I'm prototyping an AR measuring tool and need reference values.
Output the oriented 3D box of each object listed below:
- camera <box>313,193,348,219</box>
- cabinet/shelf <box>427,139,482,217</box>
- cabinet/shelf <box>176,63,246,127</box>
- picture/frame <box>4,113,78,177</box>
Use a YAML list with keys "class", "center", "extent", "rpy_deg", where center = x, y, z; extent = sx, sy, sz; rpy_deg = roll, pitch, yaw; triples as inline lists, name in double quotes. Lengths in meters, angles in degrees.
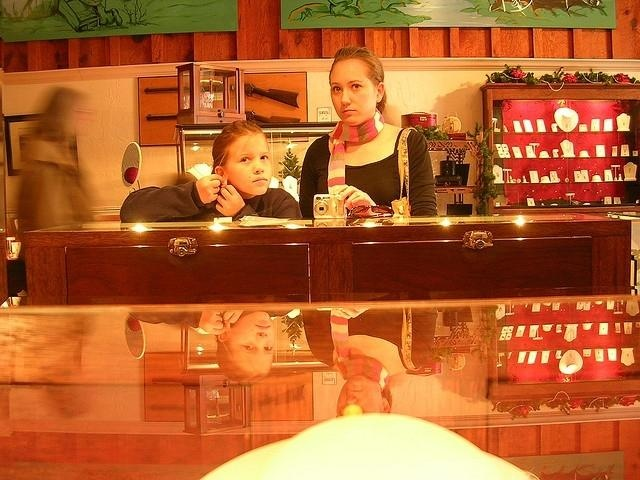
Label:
- class: "camera"
  center: [0.024, -0.095, 1.782]
  extent: [0.113, 0.079, 0.062]
  rpy_deg: [-1, 0, -9]
- class: "cabinet/shelf"
  center: [0.996, -0.447, 4.600]
  extent: [0.452, 0.762, 0.640]
  rpy_deg: [0, 0, 7]
- class: "cabinet/shelf"
  center: [-0.631, -0.820, 3.686]
  extent: [0.173, 0.352, 0.386]
  rpy_deg: [5, 10, 40]
- class: "picture/frame"
  center: [-2.129, -0.756, 4.876]
  extent: [0.493, 0.537, 0.059]
  rpy_deg: [1, 0, -7]
